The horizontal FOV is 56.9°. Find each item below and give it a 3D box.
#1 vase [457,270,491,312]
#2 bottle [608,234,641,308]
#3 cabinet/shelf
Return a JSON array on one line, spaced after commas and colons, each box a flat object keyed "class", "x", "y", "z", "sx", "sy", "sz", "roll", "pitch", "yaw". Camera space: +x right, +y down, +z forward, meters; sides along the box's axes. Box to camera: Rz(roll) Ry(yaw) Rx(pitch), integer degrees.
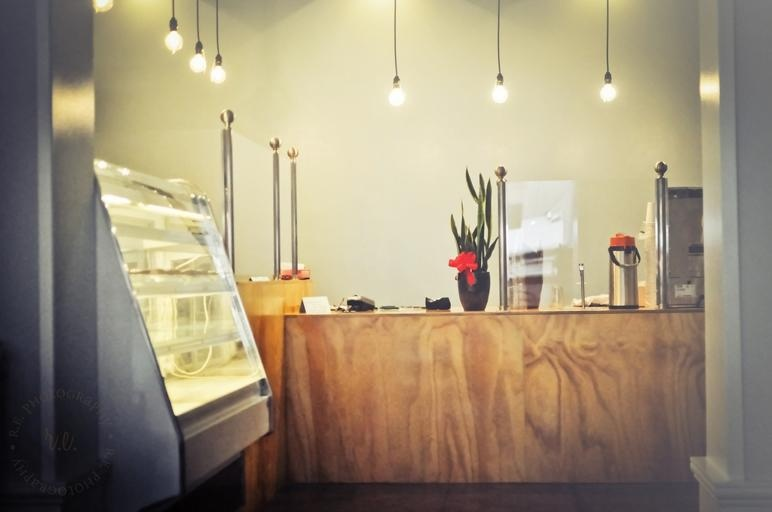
[{"class": "vase", "x": 0.540, "y": 0.222, "z": 4.393, "sx": 0.214, "sy": 0.264, "sz": 0.230, "roll": -4, "pitch": -6, "yaw": 31}, {"class": "bottle", "x": 1.454, "y": 0.095, "z": 4.365, "sx": 0.181, "sy": 0.445, "sz": 0.207, "roll": -2, "pitch": 2, "yaw": 20}, {"class": "cabinet/shelf", "x": -0.963, "y": 0.307, "z": 3.346, "sx": 0.478, "sy": 1.434, "sz": 0.752, "roll": -2, "pitch": 2, "yaw": 22}]
